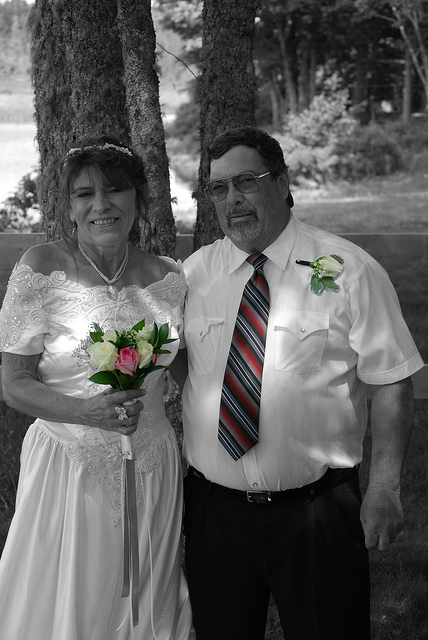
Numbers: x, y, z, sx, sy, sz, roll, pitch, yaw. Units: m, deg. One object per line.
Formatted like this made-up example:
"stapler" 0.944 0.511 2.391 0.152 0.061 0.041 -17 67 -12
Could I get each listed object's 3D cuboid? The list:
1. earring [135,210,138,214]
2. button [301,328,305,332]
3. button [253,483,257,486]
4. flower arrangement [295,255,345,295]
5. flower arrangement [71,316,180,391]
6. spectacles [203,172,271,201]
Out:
"earring" -0.289 -0.405 2.602 0.005 0.015 0.015 -3 18 11
"button" 0.303 0.034 2.379 0.011 0.011 0.012 -3 10 7
"button" 0.139 0.565 2.381 0.011 0.010 0.004 -4 10 3
"flower arrangement" 0.391 -0.157 2.427 0.124 0.126 0.096 -2 10 9
"flower arrangement" -0.264 0.111 2.099 0.203 0.211 0.251 3 12 35
"spectacles" 0.073 -0.481 2.505 0.244 0.092 0.096 1 11 24
